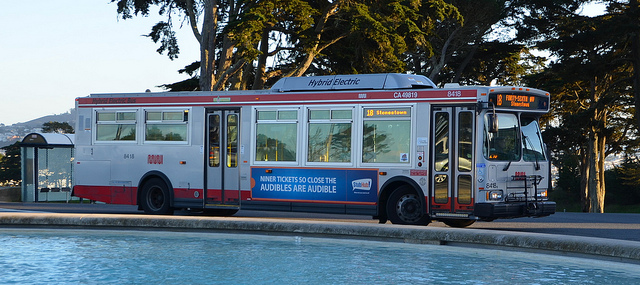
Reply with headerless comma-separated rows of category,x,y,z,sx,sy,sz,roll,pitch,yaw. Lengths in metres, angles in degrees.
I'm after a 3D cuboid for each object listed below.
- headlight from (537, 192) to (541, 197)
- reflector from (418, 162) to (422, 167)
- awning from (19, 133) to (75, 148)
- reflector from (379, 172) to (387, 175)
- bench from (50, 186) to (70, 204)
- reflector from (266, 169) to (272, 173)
headlight,10.802,2.558,31.465,0.333,0.269,0.169,0,1,9
reflector,4.856,1.073,31.051,0.236,0.199,0.064,-1,-3,0
awning,-18.575,-0.090,43.258,2.205,0.668,3.704,-1,-5,41
reflector,3.085,1.559,31.385,0.372,0.125,0.038,1,-6,5
bench,-18.173,3.606,44.065,1.310,1.000,0.497,1,3,-5
reflector,-2.657,1.470,32.474,0.287,0.165,0.144,1,-6,-1
